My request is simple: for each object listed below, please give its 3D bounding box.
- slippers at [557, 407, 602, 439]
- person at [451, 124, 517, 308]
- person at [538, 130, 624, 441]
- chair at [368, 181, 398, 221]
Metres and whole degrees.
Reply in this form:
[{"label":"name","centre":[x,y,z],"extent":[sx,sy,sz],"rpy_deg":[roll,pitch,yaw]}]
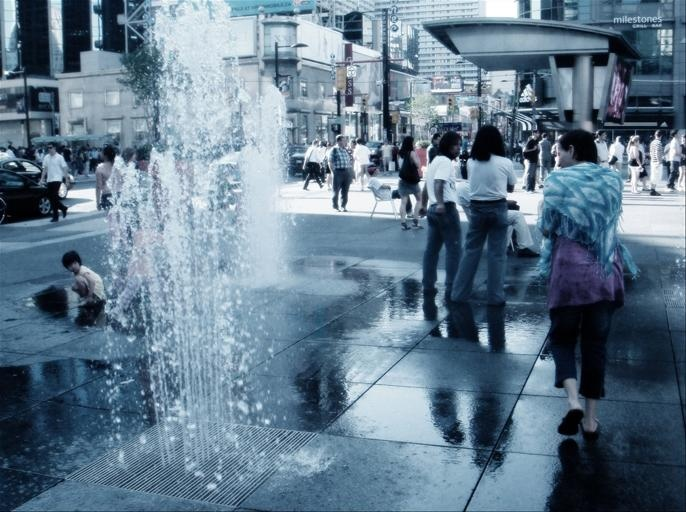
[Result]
[{"label":"slippers","centre":[1.690,1.216,4.849],"extent":[0.157,0.214,0.491],"rpy_deg":[2,-26,8]},{"label":"person","centre":[1.753,-0.487,8.365],"extent":[0.704,2.239,0.435],"rpy_deg":[1,9,14]},{"label":"person","centre":[1.746,0.179,5.027],"extent":[0.602,2.212,0.802],"rpy_deg":[5,11,32]},{"label":"chair","centre":[1.001,-1.517,17.464],"extent":[0.716,1.053,0.785],"rpy_deg":[-1,8,7]}]
